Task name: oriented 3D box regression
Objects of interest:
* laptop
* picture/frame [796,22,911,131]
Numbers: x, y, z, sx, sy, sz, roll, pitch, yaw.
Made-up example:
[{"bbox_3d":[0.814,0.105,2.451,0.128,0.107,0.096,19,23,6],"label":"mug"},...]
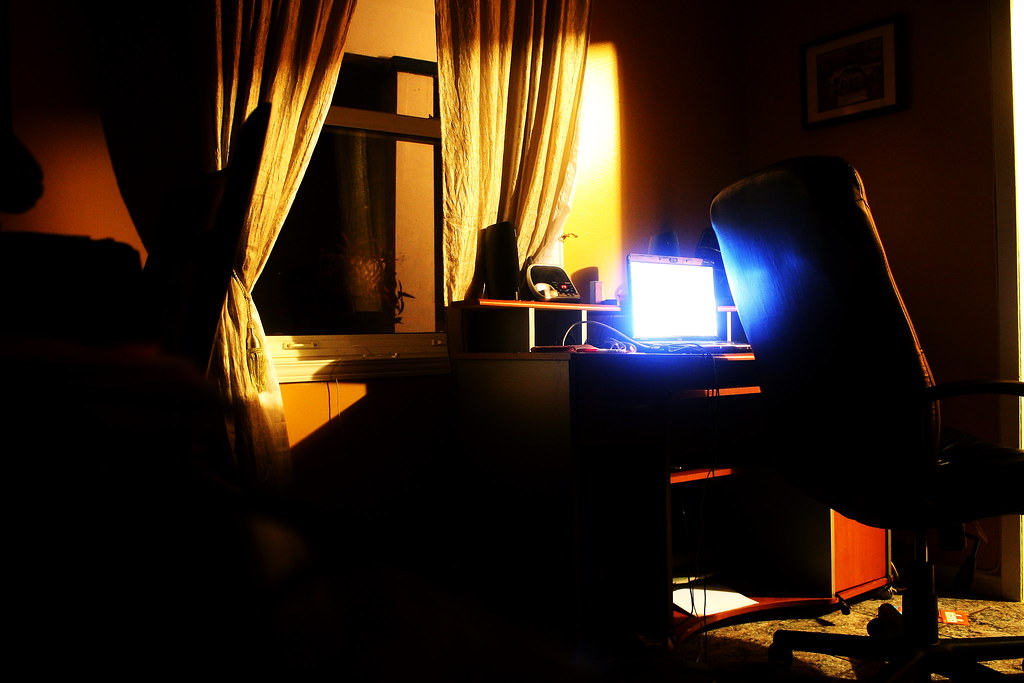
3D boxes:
[{"bbox_3d":[0.636,-0.145,3.011,0.570,0.423,0.323,0,-3,-33],"label":"laptop"},{"bbox_3d":[1.531,-1.173,3.531,0.058,0.484,0.520,6,-5,-40],"label":"picture/frame"}]
